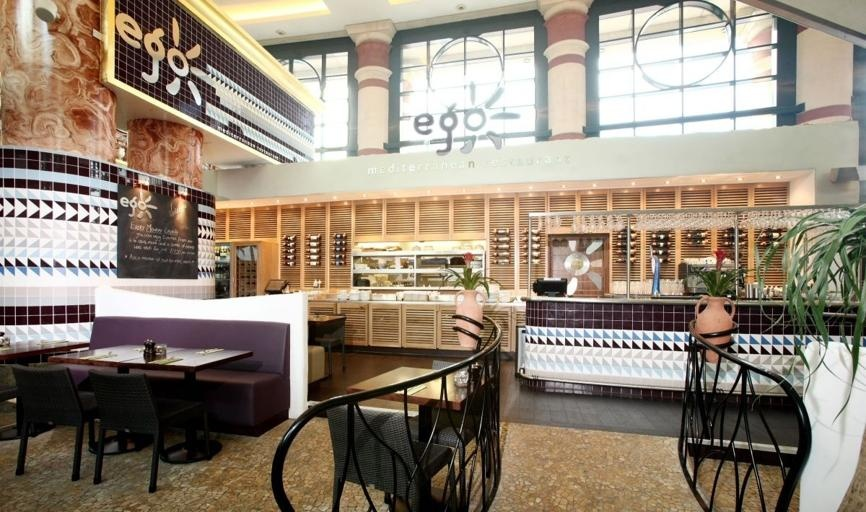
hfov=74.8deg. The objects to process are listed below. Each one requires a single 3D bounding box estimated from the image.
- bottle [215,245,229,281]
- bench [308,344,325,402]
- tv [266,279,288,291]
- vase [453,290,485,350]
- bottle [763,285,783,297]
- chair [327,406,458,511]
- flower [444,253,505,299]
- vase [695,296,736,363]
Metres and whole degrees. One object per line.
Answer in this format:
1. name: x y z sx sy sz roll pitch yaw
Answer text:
1. bottle: -5.416 0.151 14.433 0.490 0.892 0.178 0 -2 34
2. bench: -2.110 2.044 10.169 0.295 0.823 0.822 2 -2 -12
3. tv: -3.508 0.665 12.682 0.333 0.088 0.332 3 19 0
4. vase: 0.614 1.077 9.706 0.454 0.978 0.442 1 -2 2
5. bottle: 6.379 0.677 10.630 0.344 0.077 0.353 -3 5 0
6. chair: -0.638 2.456 7.495 1.324 1.684 1.548 0 -2 31
7. flower: 0.521 0.419 10.286 1.107 0.731 1.120 -4 -8 41
8. vase: 4.724 1.236 9.499 0.791 1.122 0.559 2 -2 -34
